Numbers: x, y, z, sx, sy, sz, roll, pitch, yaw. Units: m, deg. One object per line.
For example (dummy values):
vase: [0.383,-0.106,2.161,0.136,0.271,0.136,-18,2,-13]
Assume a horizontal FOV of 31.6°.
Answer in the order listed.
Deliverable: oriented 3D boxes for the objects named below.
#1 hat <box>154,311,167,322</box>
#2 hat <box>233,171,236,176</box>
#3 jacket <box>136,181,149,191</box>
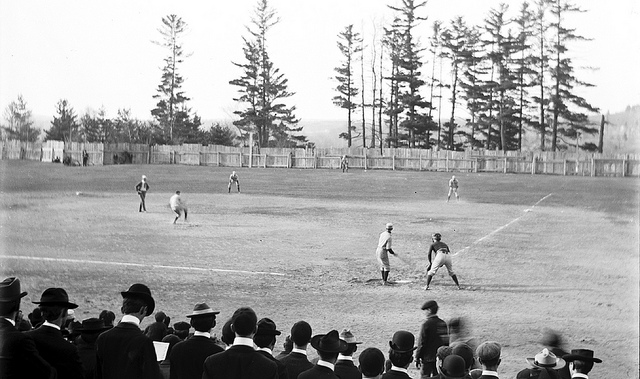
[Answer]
hat: [-11.755,9.398,83.279,0.562,0.761,0.741,4,12,-6]
hat: [-8.942,-1.534,118.606,0.166,0.569,0.396,3,13,-18]
jacket: [-16.856,-0.025,107.313,1.151,1.117,0.671,2,20,-15]
